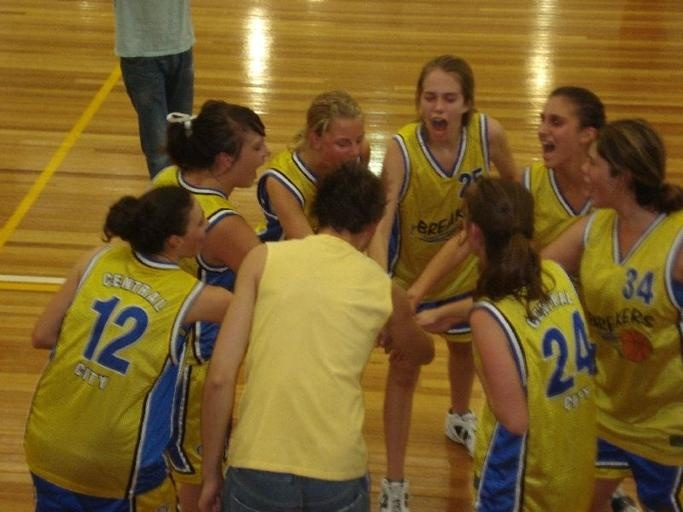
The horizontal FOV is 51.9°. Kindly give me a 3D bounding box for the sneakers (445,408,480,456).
[{"bbox_3d":[0.619,0.891,3.646,0.097,0.120,0.261,-20,45,-29],"label":"sneakers"}]
